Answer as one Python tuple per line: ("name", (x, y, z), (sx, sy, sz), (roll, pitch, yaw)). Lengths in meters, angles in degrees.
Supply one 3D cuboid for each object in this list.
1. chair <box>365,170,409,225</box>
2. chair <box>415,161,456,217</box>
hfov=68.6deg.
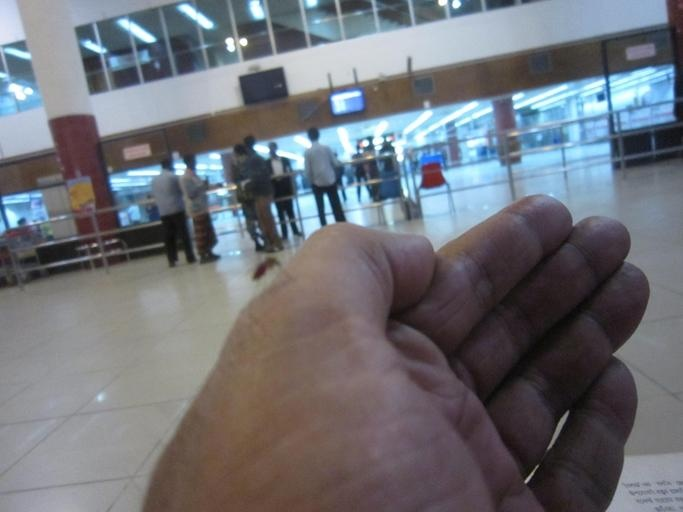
("chair", (0.399, -0.484, 4.368), (0.363, 0.736, 0.426), (-3, 2, 4))
("chair", (0.785, -0.587, 4.313), (0.358, 0.704, 0.455), (-2, 21, 7))
